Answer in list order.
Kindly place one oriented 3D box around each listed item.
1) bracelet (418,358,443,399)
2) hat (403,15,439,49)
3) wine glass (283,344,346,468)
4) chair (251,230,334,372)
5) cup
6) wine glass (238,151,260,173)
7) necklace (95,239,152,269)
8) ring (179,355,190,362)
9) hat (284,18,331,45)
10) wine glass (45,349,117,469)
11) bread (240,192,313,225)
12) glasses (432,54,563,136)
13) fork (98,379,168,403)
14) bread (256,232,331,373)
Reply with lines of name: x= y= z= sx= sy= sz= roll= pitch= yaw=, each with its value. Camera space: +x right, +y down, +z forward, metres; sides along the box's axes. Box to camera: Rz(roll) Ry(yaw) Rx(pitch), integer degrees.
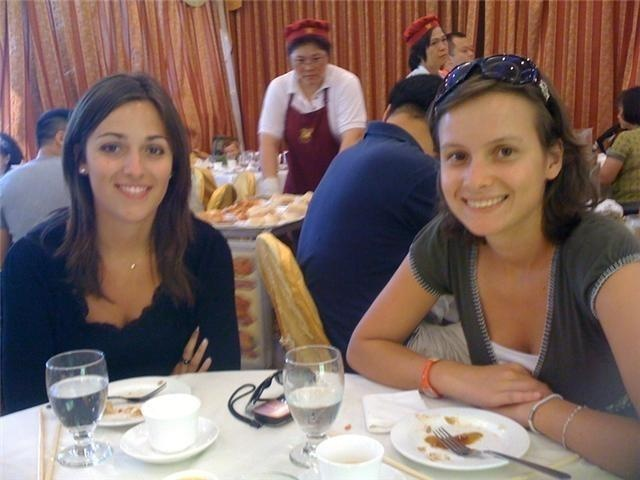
bracelet: x=0.273 y=0.347 z=1.358 sx=0.025 sy=0.069 sz=0.058 roll=-12 pitch=-21 yaw=41
hat: x=0.886 y=-1.739 z=4.693 sx=0.284 sy=0.121 sz=0.324 roll=-40 pitch=8 yaw=-13
wine glass: x=-0.011 y=0.328 z=1.109 sx=0.118 sy=0.205 sz=0.181 roll=-4 pitch=14 yaw=-2
chair: x=-0.081 y=0.215 z=2.022 sx=0.123 sy=0.470 sz=0.238 roll=-37 pitch=18 yaw=-36
cup: x=-0.300 y=0.375 z=1.113 sx=0.103 sy=0.084 sz=0.108 roll=-1 pitch=-1 yaw=0
wine glass: x=-0.638 y=-0.731 z=4.990 sx=0.244 sy=0.128 sz=0.315 roll=1 pitch=32 yaw=-4
necklace: x=-0.623 y=0.052 z=1.761 sx=0.121 sy=0.045 sz=0.091 roll=-5 pitch=-28 yaw=-14
ring: x=-0.435 y=0.384 z=1.766 sx=0.019 sy=0.012 sz=0.027 roll=6 pitch=-6 yaw=-3
hat: x=-0.075 y=-1.360 z=3.584 sx=0.296 sy=0.158 sz=0.275 roll=-6 pitch=15 yaw=-11
wine glass: x=-0.500 y=0.346 z=1.147 sx=0.116 sy=0.196 sz=0.179 roll=-10 pitch=16 yaw=-24
bread: x=-0.220 y=-0.145 z=2.800 sx=0.222 sy=0.047 sz=0.227 roll=-16 pitch=20 yaw=3
glasses: x=0.458 y=-0.355 z=1.399 sx=0.185 sy=0.193 sz=0.058 roll=-1 pitch=9 yaw=15
fork: x=-0.490 y=0.390 z=1.367 sx=0.323 sy=0.046 sz=0.051 roll=-12 pitch=-29 yaw=30
bread: x=-0.113 y=0.210 z=1.987 sx=0.121 sy=0.464 sz=0.243 roll=-36 pitch=18 yaw=-36
